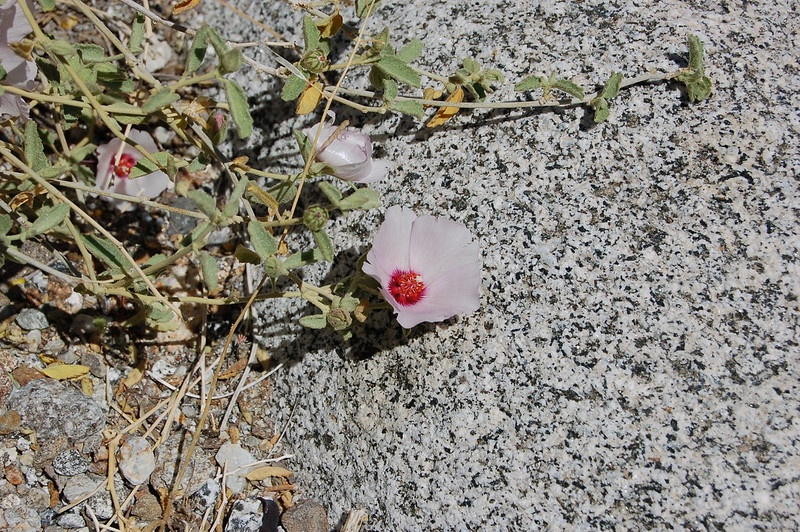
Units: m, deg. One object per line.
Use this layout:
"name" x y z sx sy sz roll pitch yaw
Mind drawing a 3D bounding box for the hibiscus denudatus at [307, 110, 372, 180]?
"hibiscus denudatus" -0.232 -0.452 2.788 0.261 0.204 0.145 41 -26 1

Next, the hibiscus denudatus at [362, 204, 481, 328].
"hibiscus denudatus" 0.013 -0.018 2.583 0.450 0.215 0.529 -9 27 -1
